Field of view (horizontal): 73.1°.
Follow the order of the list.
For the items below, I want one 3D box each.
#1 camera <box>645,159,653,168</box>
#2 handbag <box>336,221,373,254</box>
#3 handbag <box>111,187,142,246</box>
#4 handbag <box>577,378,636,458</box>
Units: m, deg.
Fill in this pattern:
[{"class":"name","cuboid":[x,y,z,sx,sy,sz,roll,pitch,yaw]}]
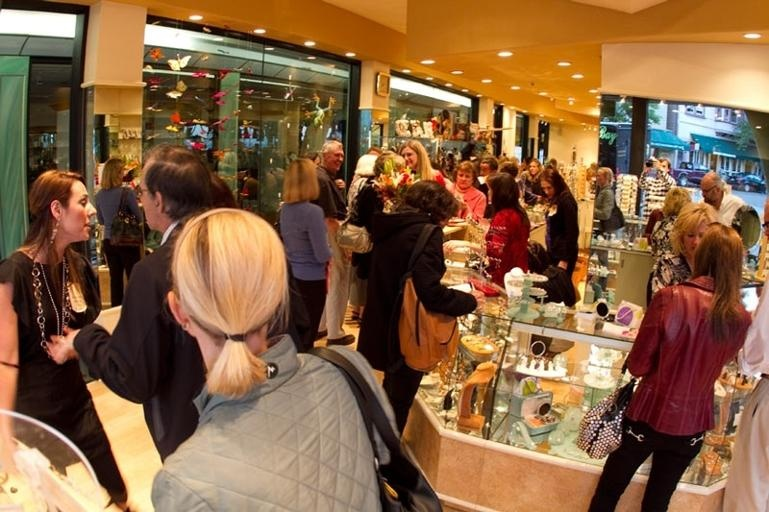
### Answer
[{"class":"camera","cuboid":[2.416,-0.850,4.751,0.055,0.076,0.075,3,1,24]},{"class":"handbag","cuboid":[-0.277,-0.178,5.152,0.397,0.296,0.306,19,13,7]},{"class":"handbag","cuboid":[-2.439,-0.374,4.943,0.257,0.543,0.169,3,27,-18]},{"class":"handbag","cuboid":[1.257,0.990,3.012,0.292,0.280,0.143,26,8,-30]}]
